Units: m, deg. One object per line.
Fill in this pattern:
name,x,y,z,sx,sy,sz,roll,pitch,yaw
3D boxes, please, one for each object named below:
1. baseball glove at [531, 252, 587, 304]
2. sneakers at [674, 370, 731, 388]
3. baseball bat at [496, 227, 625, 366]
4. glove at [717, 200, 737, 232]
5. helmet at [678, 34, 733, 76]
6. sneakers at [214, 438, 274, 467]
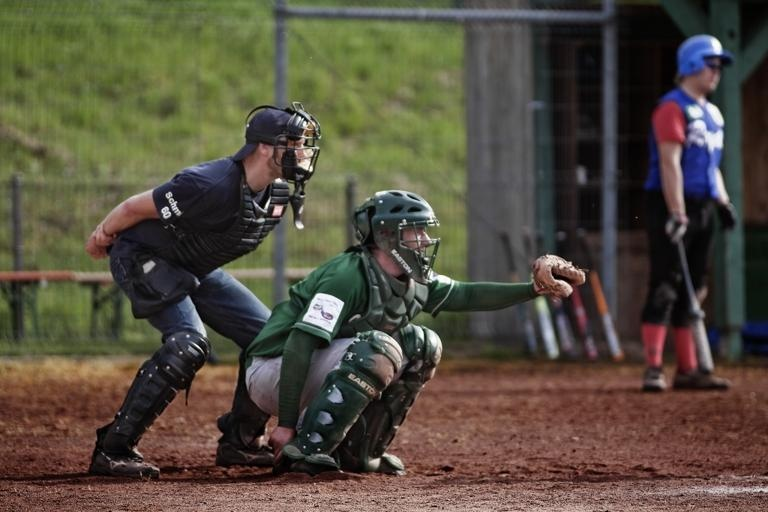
baseball glove,1.457,0.148,14.036,0.490,0.226,0.368,1,-13,7
sneakers,2.849,1.099,14.962,0.156,0.167,0.457,6,-10,-42
baseball bat,1.955,0.403,17.791,0.181,1.611,0.194,-15,-20,-12
glove,3.245,-0.415,15.687,0.156,0.287,0.221,-22,24,-4
helmet,2.867,-1.830,14.870,0.465,0.289,0.316,-3,9,5
sneakers,-1.229,1.717,14.467,0.599,0.251,0.207,0,-6,-3
